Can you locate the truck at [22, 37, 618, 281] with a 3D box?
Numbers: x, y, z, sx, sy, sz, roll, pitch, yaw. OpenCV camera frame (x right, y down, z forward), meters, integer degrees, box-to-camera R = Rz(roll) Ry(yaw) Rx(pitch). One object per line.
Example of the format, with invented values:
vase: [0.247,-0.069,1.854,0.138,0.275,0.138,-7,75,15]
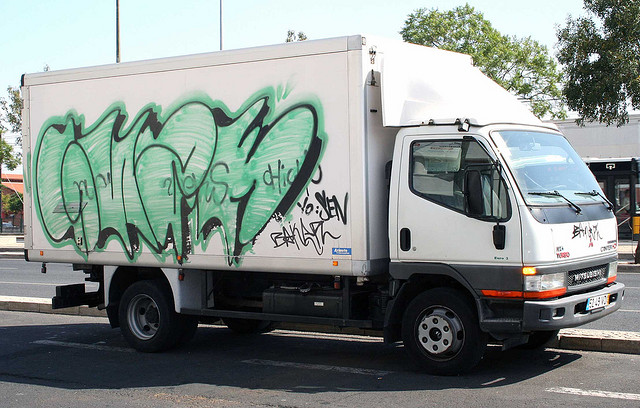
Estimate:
truck: [-0.528,-0.600,9.286,9.189,3.747,1.179,-1,1,16]
